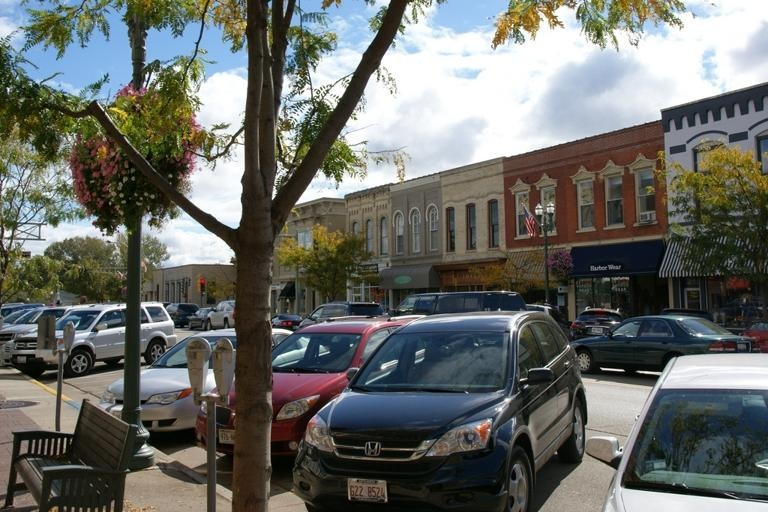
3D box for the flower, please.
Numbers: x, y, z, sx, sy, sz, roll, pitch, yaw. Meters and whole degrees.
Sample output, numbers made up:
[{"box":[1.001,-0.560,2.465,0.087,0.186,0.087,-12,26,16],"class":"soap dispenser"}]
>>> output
[{"box":[-2.935,-1.286,8.589,1.152,1.288,1.114,-8,8,0],"class":"flower"}]
